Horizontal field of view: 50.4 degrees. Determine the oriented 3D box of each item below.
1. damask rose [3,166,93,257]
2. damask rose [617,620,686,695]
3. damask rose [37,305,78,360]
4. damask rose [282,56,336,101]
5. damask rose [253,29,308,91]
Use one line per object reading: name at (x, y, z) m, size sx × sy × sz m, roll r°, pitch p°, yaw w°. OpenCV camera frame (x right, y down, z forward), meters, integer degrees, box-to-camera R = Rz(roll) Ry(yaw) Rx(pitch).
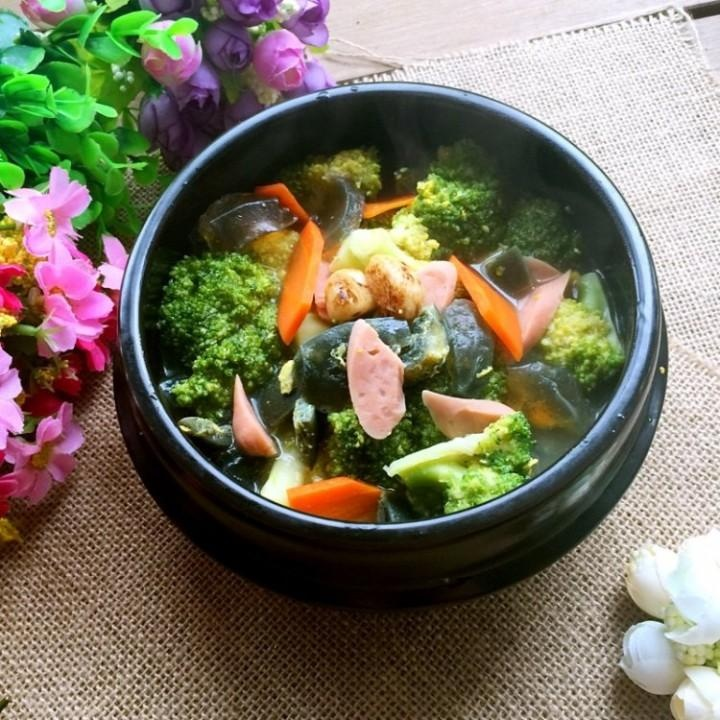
damask rose at (-0.477, -0.233, 1.190) m, size 0.133 × 0.137 × 0.126 m, roll 14°, pitch 36°, yaw 21°
damask rose at (0.427, 0.434, 1.108) m, size 0.137 × 0.068 × 0.103 m, roll 8°, pitch 48°, yaw 7°
damask rose at (-0.474, -0.043, 1.192) m, size 0.043 × 0.078 × 0.072 m, roll 16°, pitch 51°, yaw -39°
damask rose at (-0.086, -0.515, 1.403) m, size 0.144 × 0.072 × 0.141 m, roll -3°, pitch 27°, yaw -2°
damask rose at (-0.125, -0.501, 1.310) m, size 0.102 × 0.097 × 0.096 m, roll -10°, pitch 13°, yaw 2°
